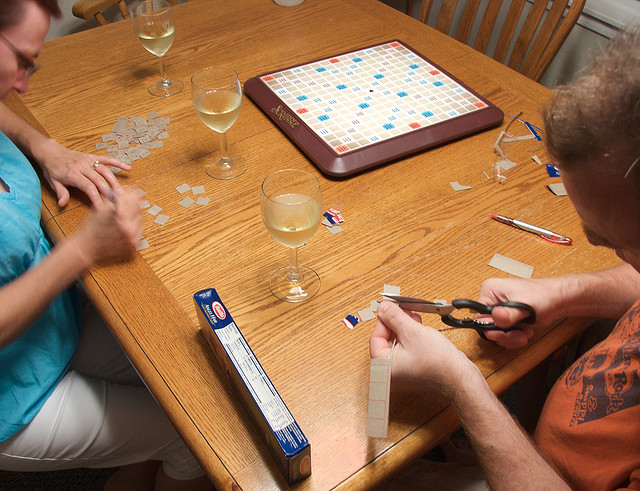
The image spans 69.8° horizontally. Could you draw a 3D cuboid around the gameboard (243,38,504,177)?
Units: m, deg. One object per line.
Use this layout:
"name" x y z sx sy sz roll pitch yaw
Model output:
"gameboard" 0.149 -0.457 1.407 0.586 0.115 0.516 -27 63 -12
